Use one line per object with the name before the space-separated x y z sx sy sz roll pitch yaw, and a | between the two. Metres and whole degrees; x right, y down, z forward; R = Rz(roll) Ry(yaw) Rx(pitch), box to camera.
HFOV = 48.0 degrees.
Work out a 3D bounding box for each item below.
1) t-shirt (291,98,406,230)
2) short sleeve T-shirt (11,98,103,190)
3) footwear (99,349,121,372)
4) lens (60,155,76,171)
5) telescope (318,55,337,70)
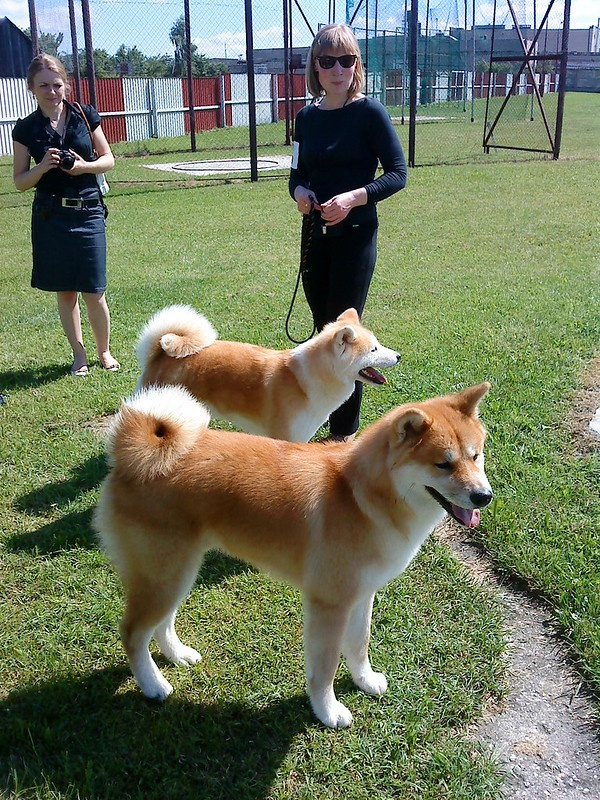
t-shirt | 0.232 -1.282 3.706 0.670 0.674 0.328 12 20 39
short sleeve T-shirt | -1.721 -1.792 4.843 0.614 0.641 0.382 -8 17 -21
footwear | -1.533 -0.341 5.404 0.098 0.111 0.272 -22 32 -21
lens | -1.622 -1.663 4.711 0.089 0.092 0.097 -9 46 -27
telescope | 0.138 -1.735 3.464 0.072 0.077 0.033 1 48 4
